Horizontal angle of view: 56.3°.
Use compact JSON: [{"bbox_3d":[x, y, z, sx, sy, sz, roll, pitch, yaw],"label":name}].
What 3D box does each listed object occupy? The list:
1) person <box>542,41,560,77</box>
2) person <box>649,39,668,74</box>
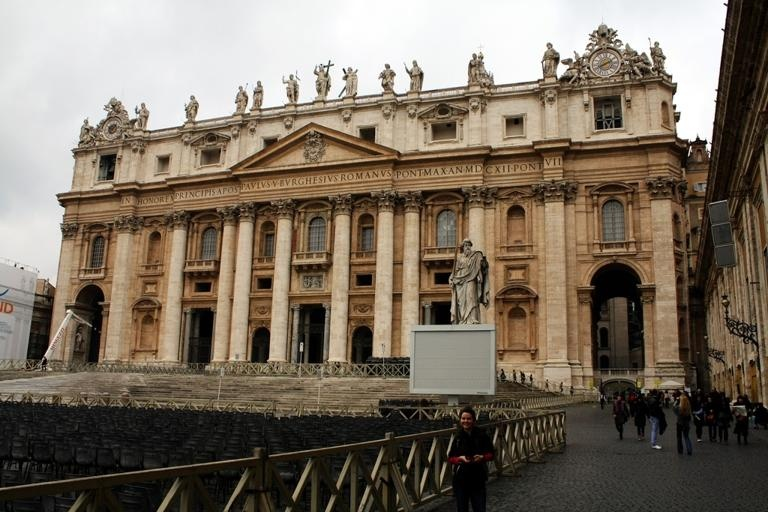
[{"bbox_3d":[13.553,-15.818,58.488,1.258,2.897,0.718,-5,-15,13],"label":"person"},{"bbox_3d":[21.697,-15.611,56.993,0.828,2.752,0.544,-4,-15,12],"label":"person"}]
